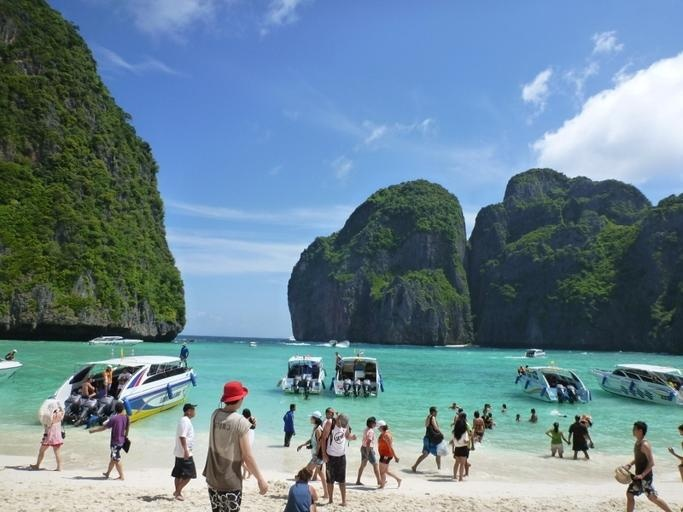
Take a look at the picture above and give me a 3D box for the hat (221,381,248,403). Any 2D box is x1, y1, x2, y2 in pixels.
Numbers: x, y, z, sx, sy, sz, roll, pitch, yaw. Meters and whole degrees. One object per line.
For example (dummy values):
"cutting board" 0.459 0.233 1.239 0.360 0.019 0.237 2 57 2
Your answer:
"hat" -2.281 2.986 10.893 0.513 0.255 0.621 1 14 11

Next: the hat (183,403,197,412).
"hat" -4.243 4.307 14.054 0.257 0.356 0.680 5 -14 -18

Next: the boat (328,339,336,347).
"boat" -1.907 21.298 121.518 1.779 0.984 2.667 3 -2 -1

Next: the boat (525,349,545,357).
"boat" 29.798 15.032 77.461 2.276 1.261 4.319 -5 -14 24

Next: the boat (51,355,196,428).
"boat" -9.289 6.047 23.043 2.767 2.327 6.999 1 -1 20

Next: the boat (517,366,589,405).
"boat" 12.635 7.989 31.649 2.215 1.681 4.441 3 -1 -13

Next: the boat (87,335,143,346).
"boat" -29.889 11.478 67.139 2.978 1.443 11.225 1 -13 2

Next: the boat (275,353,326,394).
"boat" -2.351 7.456 31.824 1.823 1.160 2.969 2 3 2
